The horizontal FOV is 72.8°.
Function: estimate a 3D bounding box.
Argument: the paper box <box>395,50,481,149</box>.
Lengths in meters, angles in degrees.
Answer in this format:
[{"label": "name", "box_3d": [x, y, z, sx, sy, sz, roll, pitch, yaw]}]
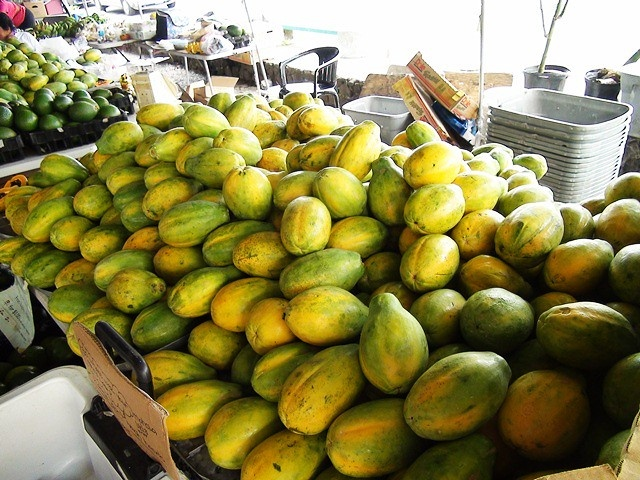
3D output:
[{"label": "paper box", "box_3d": [1.337, -1.542, 4.895, 1.241, 0.367, 1.256, 49, 14, 19]}]

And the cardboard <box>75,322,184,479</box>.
[{"label": "cardboard", "box_3d": [-0.782, 0.656, 1.822, 0.111, 0.579, 0.774, -33, 68, -25]}]
